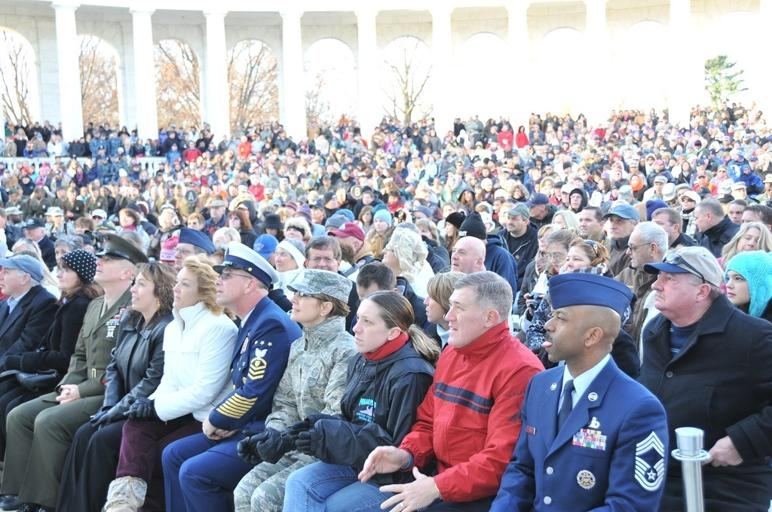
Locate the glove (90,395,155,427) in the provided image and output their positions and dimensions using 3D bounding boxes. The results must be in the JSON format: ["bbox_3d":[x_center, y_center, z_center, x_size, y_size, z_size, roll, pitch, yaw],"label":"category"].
[{"bbox_3d":[-3.036,1.792,11.140,0.478,0.138,0.471,-18,10,2],"label":"glove"}]

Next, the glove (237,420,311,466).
[{"bbox_3d":[-1.165,1.891,9.776,0.637,0.230,0.406,-27,40,5],"label":"glove"}]

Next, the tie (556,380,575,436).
[{"bbox_3d":[1.712,1.395,9.109,0.112,0.595,0.092,10,-11,26],"label":"tie"}]
